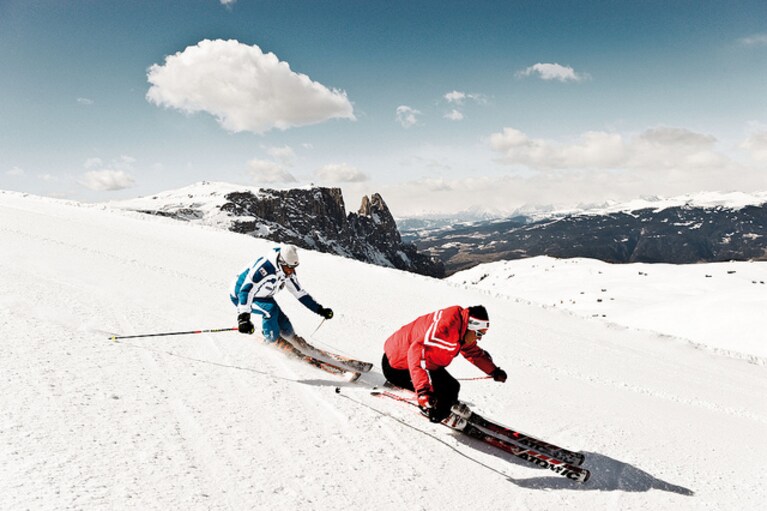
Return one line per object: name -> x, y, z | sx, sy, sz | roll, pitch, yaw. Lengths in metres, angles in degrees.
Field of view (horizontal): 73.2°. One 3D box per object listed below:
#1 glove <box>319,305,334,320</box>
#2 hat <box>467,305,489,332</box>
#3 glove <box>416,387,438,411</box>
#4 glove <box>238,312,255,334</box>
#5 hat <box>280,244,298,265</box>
glove -> -2.015, 1.950, 17.420 | 0.526, 0.216, 0.390 | 22, 44, 28
hat -> 2.557, 1.754, 14.711 | 0.568, 0.631, 0.723 | -4, 2, -22
glove -> 1.117, 3.859, 13.953 | 0.463, 0.223, 0.563 | 12, 4, -31
glove -> -4.338, 2.130, 16.216 | 0.551, 0.608, 0.608 | 5, 5, -4
hat -> -3.125, 0.024, 17.210 | 0.539, 0.708, 0.637 | 1, -14, -1
